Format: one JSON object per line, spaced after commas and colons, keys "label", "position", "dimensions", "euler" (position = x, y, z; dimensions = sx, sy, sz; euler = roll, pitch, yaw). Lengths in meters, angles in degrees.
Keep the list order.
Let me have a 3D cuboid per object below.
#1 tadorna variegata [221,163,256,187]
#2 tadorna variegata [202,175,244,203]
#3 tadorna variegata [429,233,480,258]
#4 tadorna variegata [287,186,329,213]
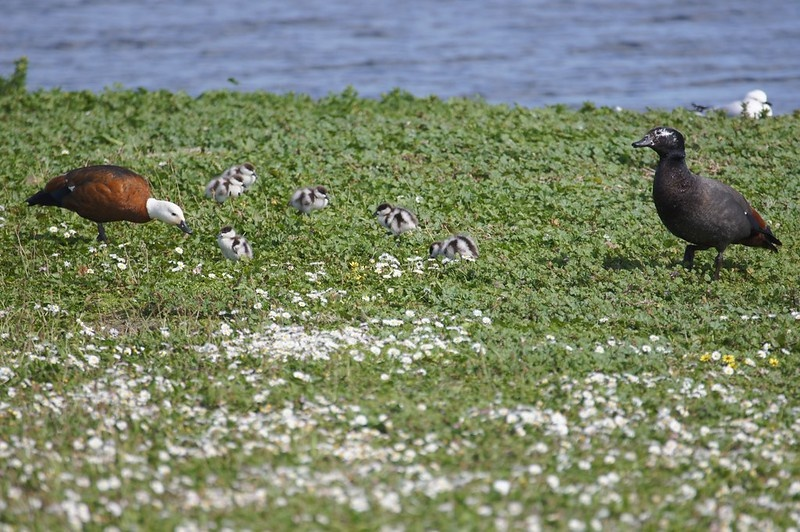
{"label": "tadorna variegata", "position": [-2.901, -1.637, 15.353], "dimensions": [0.552, 0.333, 0.375], "euler": [28, 20, 11]}
{"label": "tadorna variegata", "position": [-3.002, -1.348, 15.076], "dimensions": [0.641, 0.371, 0.410], "euler": [15, 26, 23]}
{"label": "tadorna variegata", "position": [0.813, -0.296, 13.116], "dimensions": [0.677, 0.303, 0.327], "euler": [3, 1, 16]}
{"label": "tadorna variegata", "position": [-1.473, -1.133, 14.507], "dimensions": [0.610, 0.375, 0.379], "euler": [16, 41, 19]}
